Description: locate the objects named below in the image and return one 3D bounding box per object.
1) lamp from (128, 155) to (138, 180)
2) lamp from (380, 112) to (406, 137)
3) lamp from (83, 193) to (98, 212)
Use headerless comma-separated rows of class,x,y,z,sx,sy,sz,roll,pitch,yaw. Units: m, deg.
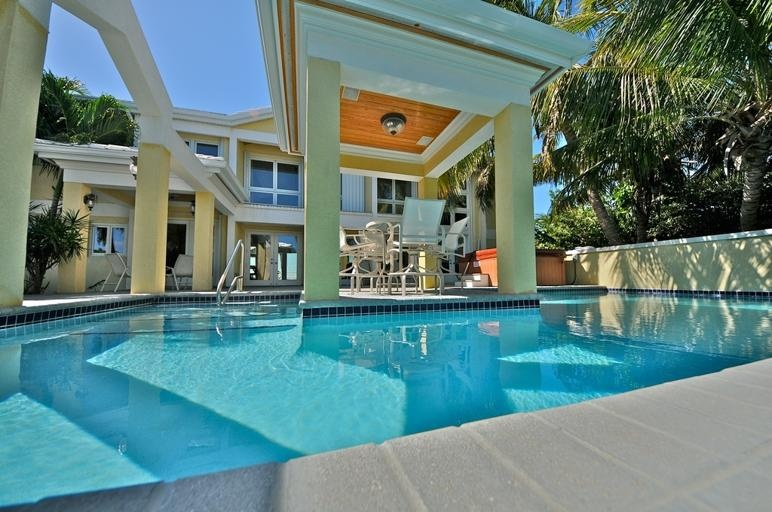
lamp,-5.504,-1.899,10.041,0.158,0.525,1.505,-9,16,-28
lamp,0.133,-2.676,9.361,0.398,0.257,0.409,1,-16,-4
lamp,-7.059,-1.292,10.994,0.193,0.395,0.259,0,14,4
